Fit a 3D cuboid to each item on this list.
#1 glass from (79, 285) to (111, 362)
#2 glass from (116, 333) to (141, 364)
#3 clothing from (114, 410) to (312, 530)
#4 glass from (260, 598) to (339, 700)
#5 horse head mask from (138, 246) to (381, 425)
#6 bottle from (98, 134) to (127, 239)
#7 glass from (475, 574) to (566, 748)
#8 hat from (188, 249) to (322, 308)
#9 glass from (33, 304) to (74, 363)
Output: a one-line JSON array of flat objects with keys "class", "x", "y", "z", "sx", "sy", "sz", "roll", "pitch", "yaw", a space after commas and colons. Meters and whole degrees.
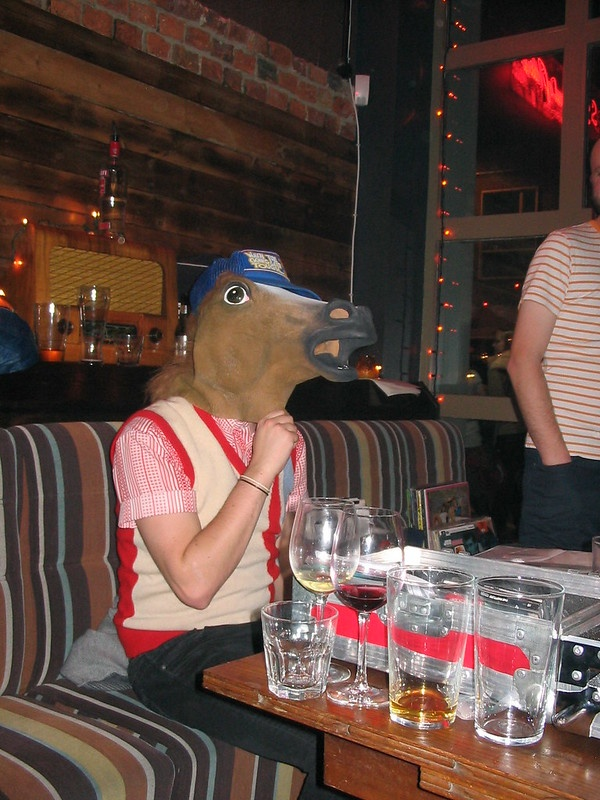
[{"class": "glass", "x": -0.513, "y": -0.188, "z": 1.837, "sx": 0.056, "sy": 0.153, "sz": 0.102, "roll": 9, "pitch": 2, "yaw": 29}, {"class": "glass", "x": -0.449, "y": -0.135, "z": 1.927, "sx": 0.079, "sy": 0.072, "sz": 0.081, "roll": 7, "pitch": -5, "yaw": -36}, {"class": "clothing", "x": -0.096, "y": 0.120, "z": 1.231, "sx": 0.393, "sy": 0.161, "sz": 0.198, "roll": 5, "pitch": 3, "yaw": -40}, {"class": "glass", "x": 0.000, "y": 0.278, "z": 0.804, "sx": 0.086, "sy": 0.079, "sz": 0.079, "roll": -10, "pitch": -17, "yaw": 28}, {"class": "horse head mask", "x": -0.053, "y": -0.106, "z": 1.223, "sx": 0.199, "sy": 0.295, "sz": 0.503, "roll": -1, "pitch": 4, "yaw": -40}, {"class": "bottle", "x": -0.612, "y": -0.687, "z": 2.406, "sx": 0.101, "sy": 0.288, "sz": 0.168, "roll": 8, "pitch": 2, "yaw": -16}, {"class": "glass", "x": 0.187, "y": 0.237, "z": 0.662, "sx": 0.078, "sy": 0.149, "sz": 0.038, "roll": 8, "pitch": 2, "yaw": 12}, {"class": "hat", "x": -0.094, "y": -0.202, "z": 1.229, "sx": 0.179, "sy": 0.050, "sz": 0.108, "roll": -1, "pitch": -3, "yaw": 25}, {"class": "glass", "x": -0.625, "y": -0.173, "z": 1.839, "sx": 0.090, "sy": 0.117, "sz": 0.182, "roll": 7, "pitch": 1, "yaw": -18}]
